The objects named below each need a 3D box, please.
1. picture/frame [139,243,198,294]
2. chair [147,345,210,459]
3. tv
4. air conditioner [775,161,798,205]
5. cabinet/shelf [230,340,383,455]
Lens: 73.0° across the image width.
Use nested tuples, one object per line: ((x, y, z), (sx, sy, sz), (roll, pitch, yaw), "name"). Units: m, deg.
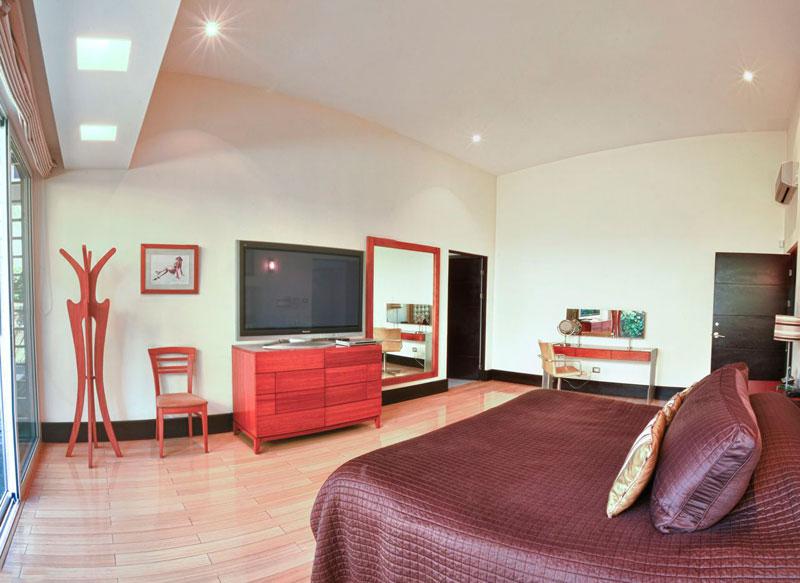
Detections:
((-2.292, -0.216, 5.392), (0.530, 0.547, 0.043), (0, -23, -21), "picture/frame")
((-2.113, 1.065, 5.212), (0.504, 0.950, 0.708), (-6, 14, -25), "chair")
((-1.114, 0.040, 5.781), (1.195, 0.829, 0.090), (2, -3, -39), "tv")
((4.161, -1.151, 5.833), (0.139, 0.208, 0.714), (9, 1, 31), "air conditioner")
((-0.951, 1.033, 5.818), (1.452, 0.952, 0.743), (-2, 5, -34), "cabinet/shelf")
